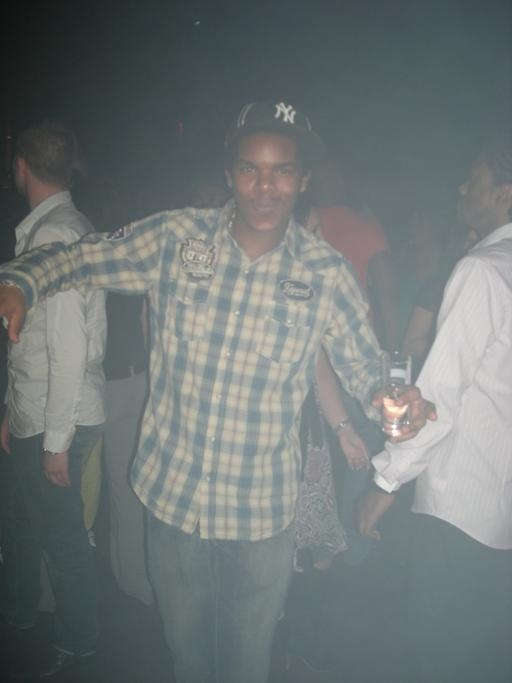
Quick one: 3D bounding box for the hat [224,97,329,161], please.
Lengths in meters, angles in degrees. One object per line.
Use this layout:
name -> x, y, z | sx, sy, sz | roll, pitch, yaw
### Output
hat -> 0.067, -0.569, 1.830 | 0.203, 0.122, 0.160 | 5, 2, -6
